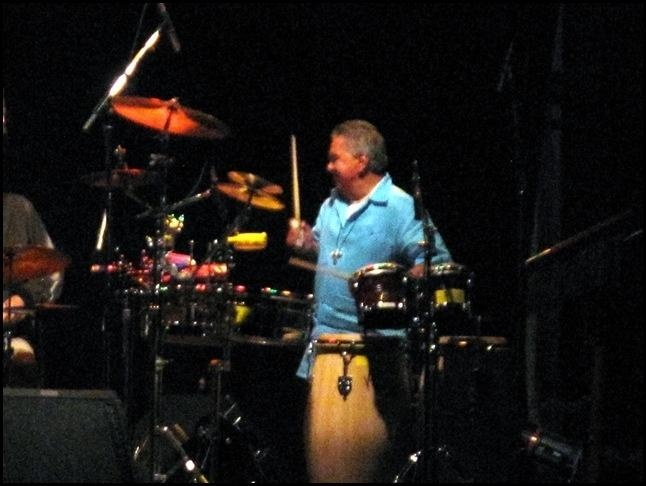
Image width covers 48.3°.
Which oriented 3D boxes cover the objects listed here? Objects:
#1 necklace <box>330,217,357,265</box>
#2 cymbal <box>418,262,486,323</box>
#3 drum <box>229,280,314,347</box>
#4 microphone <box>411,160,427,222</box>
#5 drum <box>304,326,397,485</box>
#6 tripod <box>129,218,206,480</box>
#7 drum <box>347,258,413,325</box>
[{"bbox_3d":[0.134,-0.021,4.724,0.090,0.341,0.028,18,-16,19],"label":"necklace"},{"bbox_3d":[0.748,0.291,4.223,0.313,0.304,0.317,0,-10,-6],"label":"cymbal"},{"bbox_3d":[-0.333,0.503,5.065,0.433,0.263,0.432,1,-6,0],"label":"drum"},{"bbox_3d":[0.592,-0.327,4.428,0.097,0.431,0.261,2,-11,7],"label":"microphone"},{"bbox_3d":[0.166,1.044,4.526,0.526,0.923,0.209,3,-11,2],"label":"drum"},{"bbox_3d":[-1.057,0.722,5.059,0.437,1.801,0.682,7,-12,-20],"label":"tripod"},{"bbox_3d":[0.357,0.306,4.177,0.338,0.248,0.341,0,-23,0],"label":"drum"}]
